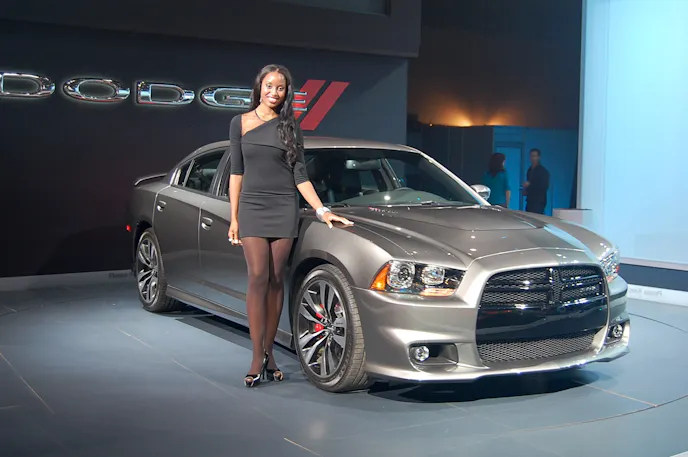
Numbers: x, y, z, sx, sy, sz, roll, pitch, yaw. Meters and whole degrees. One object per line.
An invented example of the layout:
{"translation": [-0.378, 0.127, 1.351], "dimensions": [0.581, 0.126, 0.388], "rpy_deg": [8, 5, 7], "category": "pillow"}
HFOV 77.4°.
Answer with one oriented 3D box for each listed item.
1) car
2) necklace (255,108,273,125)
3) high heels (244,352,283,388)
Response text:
{"translation": [-0.291, 0.108, 4.793], "dimensions": [5.685, 2.149, 2.218], "rpy_deg": [4, 5, 40], "category": "car"}
{"translation": [-0.634, -0.913, 3.550], "dimensions": [0.182, 0.107, 0.079], "rpy_deg": [16, -7, 2], "category": "necklace"}
{"translation": [-0.630, 1.198, 3.668], "dimensions": [0.154, 0.185, 0.467], "rpy_deg": [4, 8, 27], "category": "high heels"}
